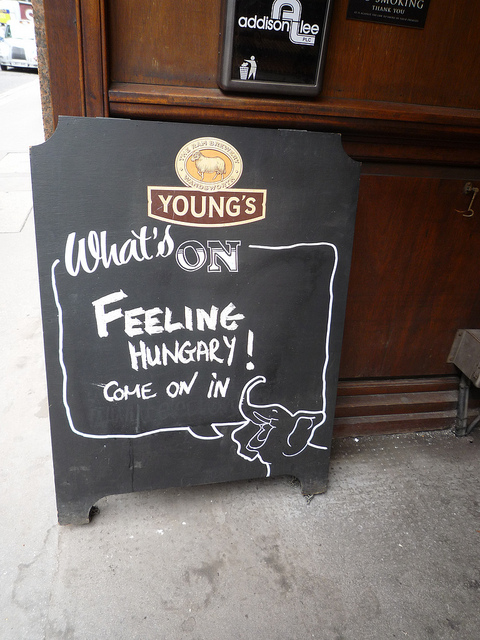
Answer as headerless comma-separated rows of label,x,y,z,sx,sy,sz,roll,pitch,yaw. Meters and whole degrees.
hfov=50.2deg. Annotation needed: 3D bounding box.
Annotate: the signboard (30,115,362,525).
signboard,-0.147,0.055,1.917,1.105,1.707,0.030,-3,27,-14
